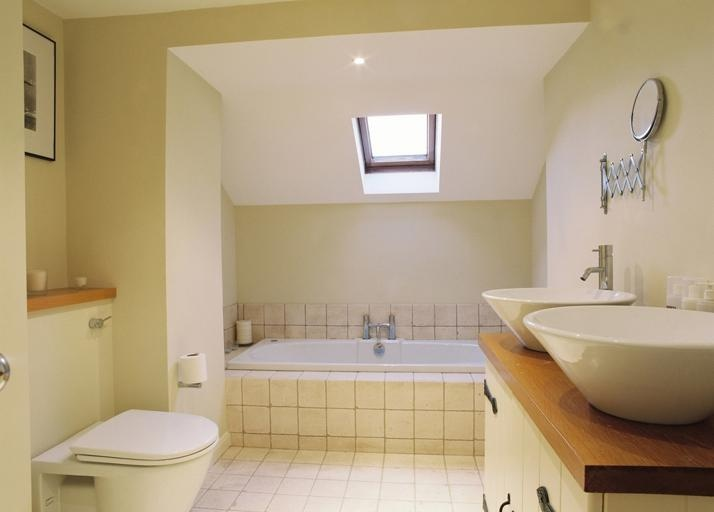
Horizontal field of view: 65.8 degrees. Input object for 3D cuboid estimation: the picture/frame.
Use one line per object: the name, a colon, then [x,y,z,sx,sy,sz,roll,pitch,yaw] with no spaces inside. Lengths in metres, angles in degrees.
picture/frame: [-1.795,-0.914,3.129,0.043,0.808,0.203,-1,1,12]

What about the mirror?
mirror: [1.317,-0.536,2.519,0.052,0.532,0.215,-1,1,-8]

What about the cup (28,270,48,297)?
cup: [-1.672,0.144,2.942,0.096,0.111,0.102,1,3,0]

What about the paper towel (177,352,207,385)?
paper towel: [-0.981,0.679,3.288,0.172,0.173,0.145,-1,0,40]

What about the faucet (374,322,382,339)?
faucet: [0.173,0.621,4.501,0.054,0.095,0.126,-1,0,1]

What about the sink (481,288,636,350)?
sink: [0.859,0.249,2.383,0.501,0.193,0.522,12,7,32]

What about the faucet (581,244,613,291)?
faucet: [1.163,0.069,2.695,0.152,0.241,0.055,-12,20,-2]
